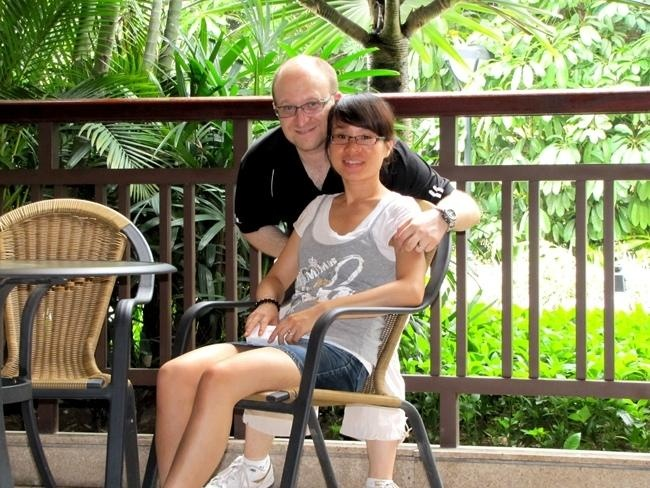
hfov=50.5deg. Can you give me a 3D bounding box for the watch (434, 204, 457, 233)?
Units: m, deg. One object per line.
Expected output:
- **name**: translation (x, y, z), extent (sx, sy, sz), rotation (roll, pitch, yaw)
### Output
- **watch**: translation (0.409, -0.085, 2.369), extent (0.077, 0.059, 0.075), rotation (13, -26, -3)
